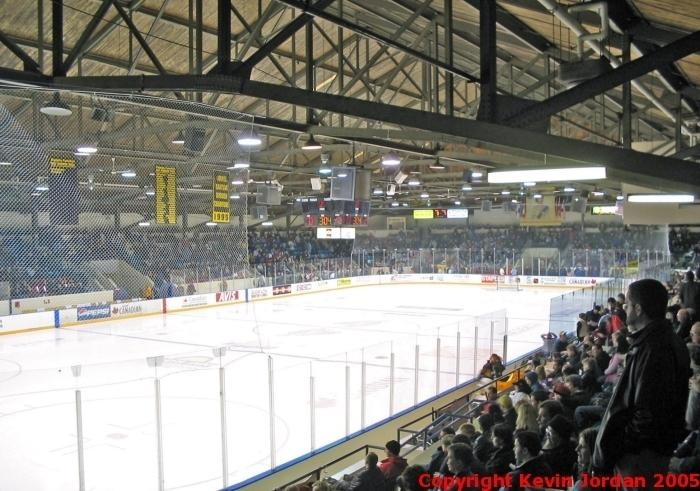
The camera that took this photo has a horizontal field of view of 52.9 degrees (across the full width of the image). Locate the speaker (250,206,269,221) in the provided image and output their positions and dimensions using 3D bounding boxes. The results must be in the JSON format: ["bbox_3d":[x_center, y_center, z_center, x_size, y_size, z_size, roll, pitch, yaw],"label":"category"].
[{"bbox_3d":[-5.290,-1.920,41.201,1.039,0.707,1.394,1,-1,-2],"label":"speaker"}]

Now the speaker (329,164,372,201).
[{"bbox_3d":[0.039,-2.061,23.427,1.188,1.111,1.173,0,1,9],"label":"speaker"}]

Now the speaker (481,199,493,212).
[{"bbox_3d":[9.657,-2.853,49.985,0.574,0.805,1.624,-2,0,5],"label":"speaker"}]

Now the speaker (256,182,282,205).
[{"bbox_3d":[-3.690,-2.305,31.645,0.529,0.873,1.770,-3,0,25],"label":"speaker"}]

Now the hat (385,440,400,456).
[{"bbox_3d":[0.679,3.271,11.475,0.206,0.232,0.241,3,13,-4],"label":"hat"}]
